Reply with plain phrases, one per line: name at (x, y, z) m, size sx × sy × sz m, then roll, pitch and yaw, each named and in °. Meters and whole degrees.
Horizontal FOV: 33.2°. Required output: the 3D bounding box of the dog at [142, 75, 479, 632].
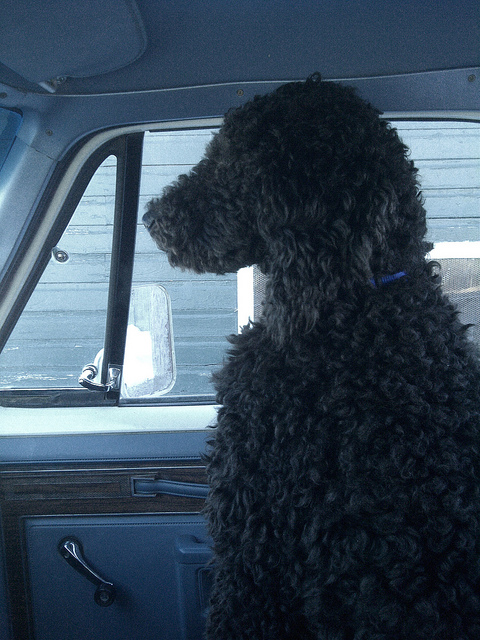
dog at (0.141, 0.050, 1.629) m, size 0.603 × 1.103 × 0.369 m, roll -7°, pitch -17°, yaw 28°

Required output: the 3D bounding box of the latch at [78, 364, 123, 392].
latch at (-0.426, 0.169, 2.474) m, size 0.101 × 0.055 × 0.097 m, roll 4°, pitch 3°, yaw 23°
